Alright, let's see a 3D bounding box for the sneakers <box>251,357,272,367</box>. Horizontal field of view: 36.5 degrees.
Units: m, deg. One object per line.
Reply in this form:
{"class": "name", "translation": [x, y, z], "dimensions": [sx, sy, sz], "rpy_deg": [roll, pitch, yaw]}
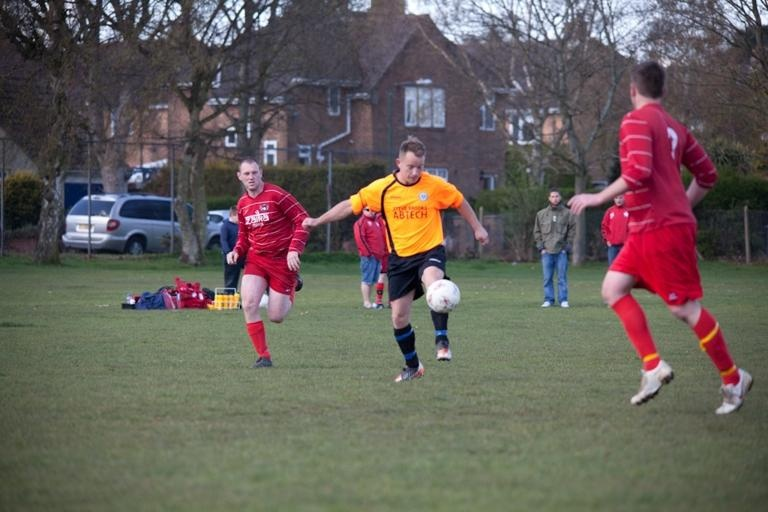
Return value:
{"class": "sneakers", "translation": [-2.072, 1.838, 19.685], "dimensions": [0.359, 0.168, 0.129], "rpy_deg": [0, -1, 16]}

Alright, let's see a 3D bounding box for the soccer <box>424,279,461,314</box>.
{"class": "soccer", "translation": [0.984, 0.720, 19.315], "dimensions": [0.526, 0.567, 0.524], "rpy_deg": [-1, -5, 0]}

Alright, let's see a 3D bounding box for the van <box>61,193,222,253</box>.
{"class": "van", "translation": [-7.545, -1.051, 36.709], "dimensions": [2.291, 2.229, 6.159], "rpy_deg": [7, 11, 36]}

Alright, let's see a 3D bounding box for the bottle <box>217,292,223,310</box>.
{"class": "bottle", "translation": [-3.586, 1.009, 25.181], "dimensions": [0.144, 0.292, 0.210], "rpy_deg": [-4, 10, -28]}

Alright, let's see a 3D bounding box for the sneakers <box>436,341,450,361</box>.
{"class": "sneakers", "translation": [0.982, 1.618, 19.330], "dimensions": [0.181, 0.139, 0.335], "rpy_deg": [-6, 42, 11]}
